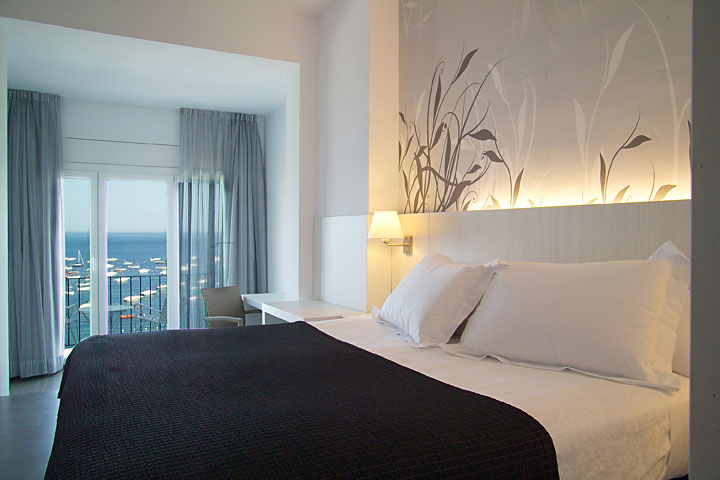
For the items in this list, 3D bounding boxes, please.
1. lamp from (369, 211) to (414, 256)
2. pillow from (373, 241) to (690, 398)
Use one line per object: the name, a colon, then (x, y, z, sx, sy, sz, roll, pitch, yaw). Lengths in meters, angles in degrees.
lamp: (0.258, -0.037, 4.033, 0.388, 0.373, 0.320, 4, -5, -35)
pillow: (1.002, 0.400, 2.498, 1.161, 0.385, 0.637, -1, 26, 46)
